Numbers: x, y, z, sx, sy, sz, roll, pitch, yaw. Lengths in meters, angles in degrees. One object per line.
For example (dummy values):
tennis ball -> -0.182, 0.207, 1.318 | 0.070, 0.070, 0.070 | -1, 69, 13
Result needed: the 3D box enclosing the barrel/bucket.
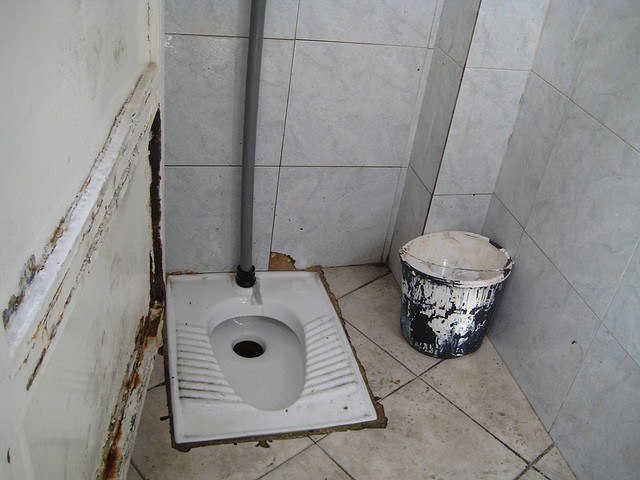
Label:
barrel/bucket -> 0.442, 0.186, 1.826 | 0.331, 0.328, 0.317 | -1, 27, 1
